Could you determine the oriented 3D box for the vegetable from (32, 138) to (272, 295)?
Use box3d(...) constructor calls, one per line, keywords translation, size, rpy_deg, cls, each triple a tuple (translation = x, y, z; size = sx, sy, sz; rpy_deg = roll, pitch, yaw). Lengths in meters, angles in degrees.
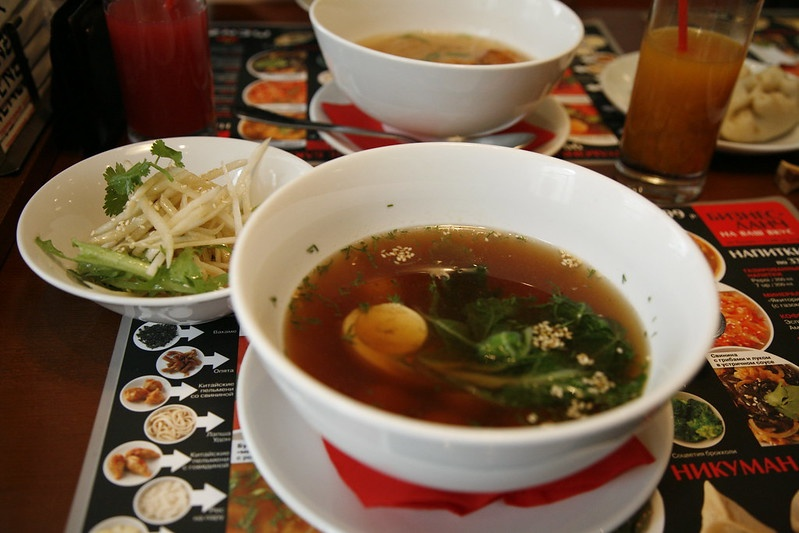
box3d(translation=(-0.531, -0.102, 1.367), size=(0.413, 0.142, 0.394), rpy_deg=(-17, 48, -16), cls="vegetable")
